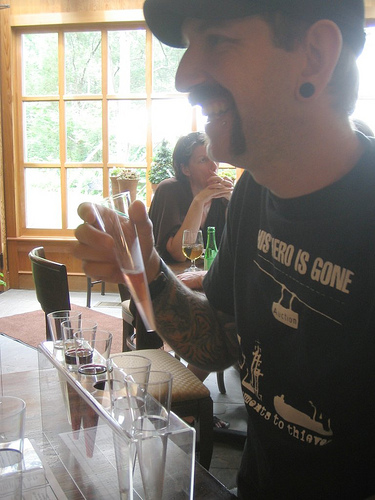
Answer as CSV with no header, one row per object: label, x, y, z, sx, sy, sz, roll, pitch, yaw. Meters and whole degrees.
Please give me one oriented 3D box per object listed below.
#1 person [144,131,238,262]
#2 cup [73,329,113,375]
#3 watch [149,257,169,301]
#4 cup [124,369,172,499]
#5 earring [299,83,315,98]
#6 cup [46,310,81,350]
person,0.037,-0.347,2.810,0.547,0.839,0.596,12,24,27
cup,-0.167,0.186,0.761,0.069,0.072,0.063,-6,16,-43
watch,-0.055,0.062,0.840,0.052,0.044,0.065,-6,2,-5
cup,-0.050,0.233,0.535,0.058,0.157,0.125,1,8,-4
earring,0.141,-0.189,0.503,0.017,0.016,0.003,3,8,8
cup,-0.259,0.169,0.894,0.060,0.066,0.065,0,6,0
